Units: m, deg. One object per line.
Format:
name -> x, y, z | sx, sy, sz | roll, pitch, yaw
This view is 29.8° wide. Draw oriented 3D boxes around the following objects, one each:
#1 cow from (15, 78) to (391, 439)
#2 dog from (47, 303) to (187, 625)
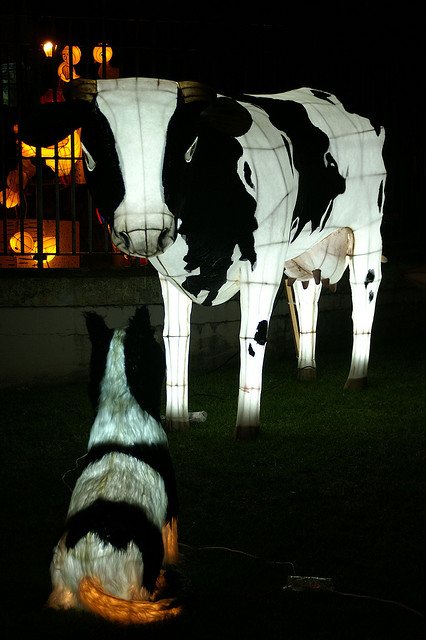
cow -> 0.204, -0.453, 5.234 | 1.124, 2.057, 3.013 | 9, 12, 32
dog -> -0.345, 0.506, 2.954 | 0.485, 1.066, 0.668 | -1, 8, 2
